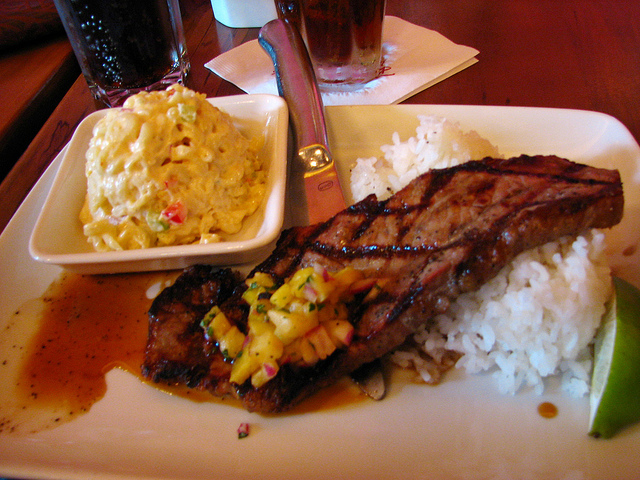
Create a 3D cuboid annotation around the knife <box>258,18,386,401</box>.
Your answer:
[{"bbox_3d":[0.055,-0.433,3.348,0.195,1.852,0.172,-1,52,16],"label":"knife"}]
